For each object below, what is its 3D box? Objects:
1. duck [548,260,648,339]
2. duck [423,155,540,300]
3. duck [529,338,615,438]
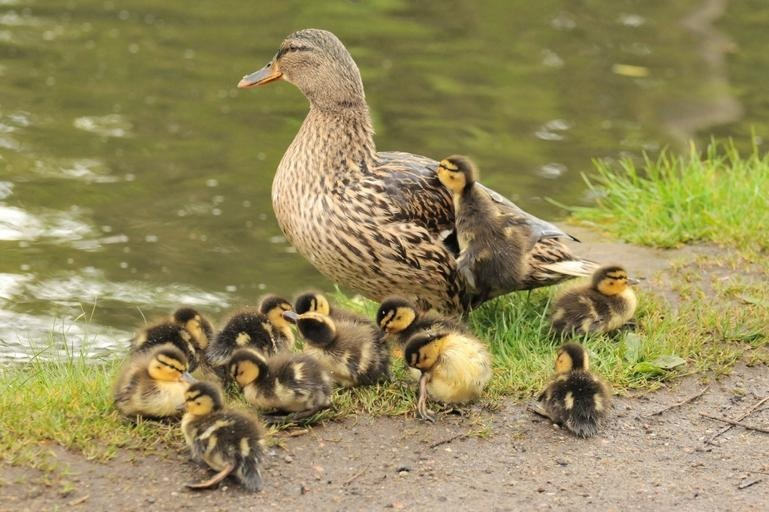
[{"bbox_3d":[1.823,0.378,7.017,0.888,0.533,0.567,-11,14,33],"label":"duck"},{"bbox_3d":[0.830,-0.193,6.734,0.842,1.199,0.385,2,14,2],"label":"duck"},{"bbox_3d":[1.459,0.979,6.196,0.727,0.448,0.730,-7,22,0],"label":"duck"}]
